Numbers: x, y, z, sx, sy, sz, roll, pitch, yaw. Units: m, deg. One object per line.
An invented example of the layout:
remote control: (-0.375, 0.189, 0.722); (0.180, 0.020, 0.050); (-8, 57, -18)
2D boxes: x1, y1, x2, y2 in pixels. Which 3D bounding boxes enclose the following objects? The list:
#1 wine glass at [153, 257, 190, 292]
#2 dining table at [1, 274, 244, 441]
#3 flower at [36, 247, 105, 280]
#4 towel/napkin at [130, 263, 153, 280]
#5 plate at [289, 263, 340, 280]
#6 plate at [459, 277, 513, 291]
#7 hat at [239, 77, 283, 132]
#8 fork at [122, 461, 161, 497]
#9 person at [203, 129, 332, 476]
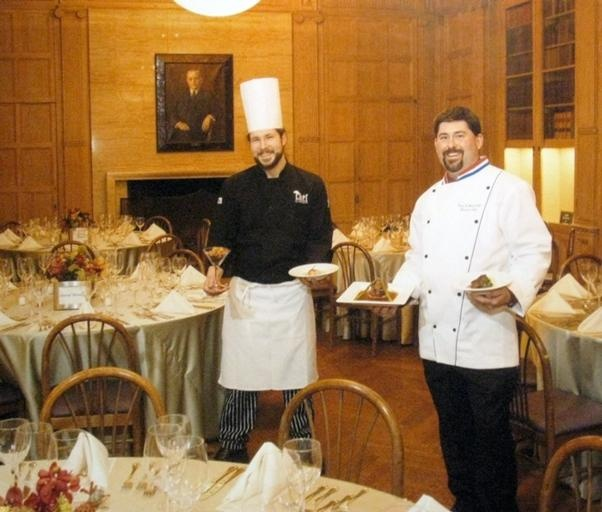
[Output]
wine glass: (-0.912, 0.122, 3.841); (0.201, 0.356, 0.238); (1, 0, -7)
dining table: (-0.821, 0.672, 2.914); (0.890, 0.624, 0.927); (-2, 9, -13)
flower: (-1.368, 0.065, 3.382); (0.263, 0.204, 0.228); (2, -1, 2)
towel/napkin: (-1.151, 0.118, 4.013); (0.092, 0.120, 0.129); (1, -10, 6)
plate: (0.058, 0.089, 2.821); (0.232, 0.111, 0.336); (0, 8, -2)
plate: (0.726, 0.120, 2.181); (0.191, 0.053, 0.136); (1, 8, 3)
hat: (-0.216, -0.840, 3.079); (0.217, 0.336, 0.331); (-1, 8, -7)
fork: (-0.418, 0.591, 1.462); (0.110, 0.097, 0.017); (3, 3, 34)
person: (-0.176, 0.239, 3.019); (0.675, 1.976, 0.665); (0, 7, -8)
